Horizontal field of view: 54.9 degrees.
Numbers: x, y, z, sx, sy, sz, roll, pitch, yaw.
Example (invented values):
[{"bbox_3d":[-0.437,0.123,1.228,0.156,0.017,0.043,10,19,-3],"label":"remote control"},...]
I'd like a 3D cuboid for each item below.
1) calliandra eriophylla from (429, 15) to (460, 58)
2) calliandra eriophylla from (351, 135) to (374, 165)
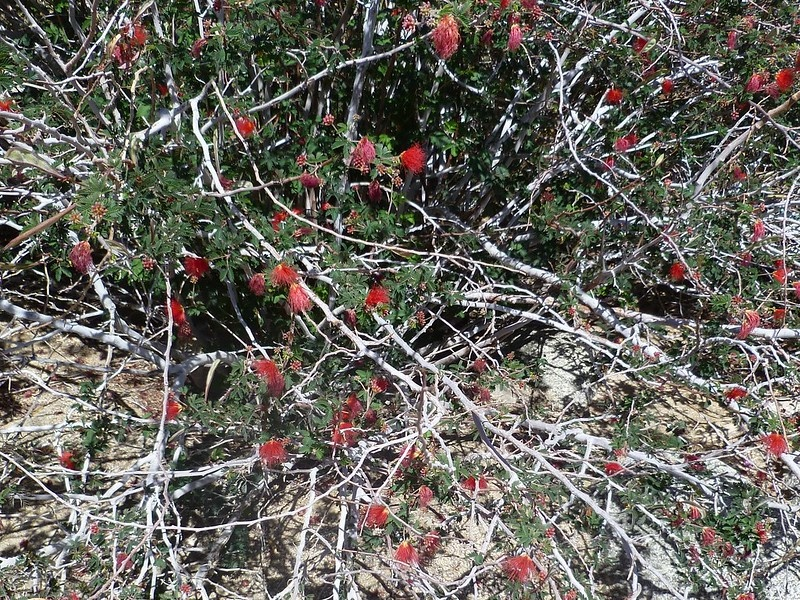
[{"bbox_3d":[0.229,-1.288,3.725,0.111,0.165,0.079,24,58,0],"label":"calliandra eriophylla"},{"bbox_3d":[-0.192,-0.784,4.056,0.097,0.090,0.150,-1,92,-2],"label":"calliandra eriophylla"}]
